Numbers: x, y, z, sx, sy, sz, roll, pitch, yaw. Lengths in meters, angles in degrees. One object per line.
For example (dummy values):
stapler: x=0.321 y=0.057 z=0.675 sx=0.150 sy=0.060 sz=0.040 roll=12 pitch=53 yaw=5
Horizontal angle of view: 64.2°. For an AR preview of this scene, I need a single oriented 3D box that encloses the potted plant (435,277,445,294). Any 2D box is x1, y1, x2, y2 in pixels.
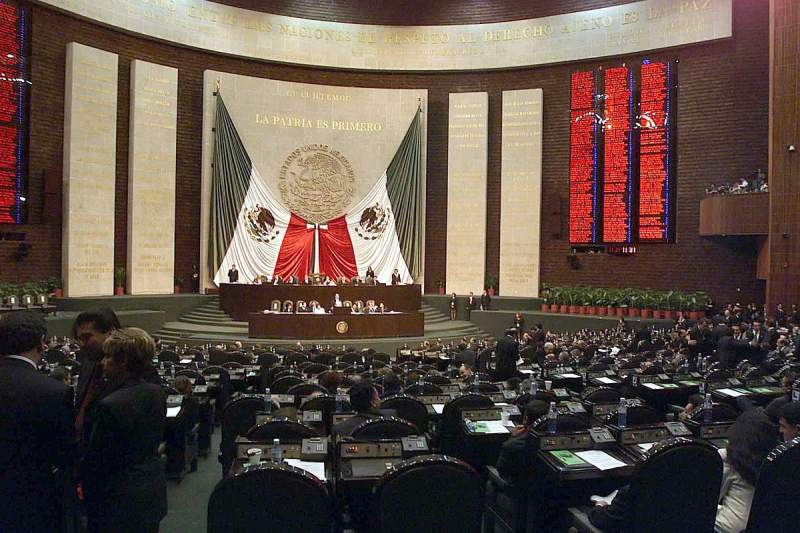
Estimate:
potted plant: x=1.729 y=0.798 z=27.061 sx=0.624 sy=0.750 sz=0.531 roll=0 pitch=-3 yaw=0
